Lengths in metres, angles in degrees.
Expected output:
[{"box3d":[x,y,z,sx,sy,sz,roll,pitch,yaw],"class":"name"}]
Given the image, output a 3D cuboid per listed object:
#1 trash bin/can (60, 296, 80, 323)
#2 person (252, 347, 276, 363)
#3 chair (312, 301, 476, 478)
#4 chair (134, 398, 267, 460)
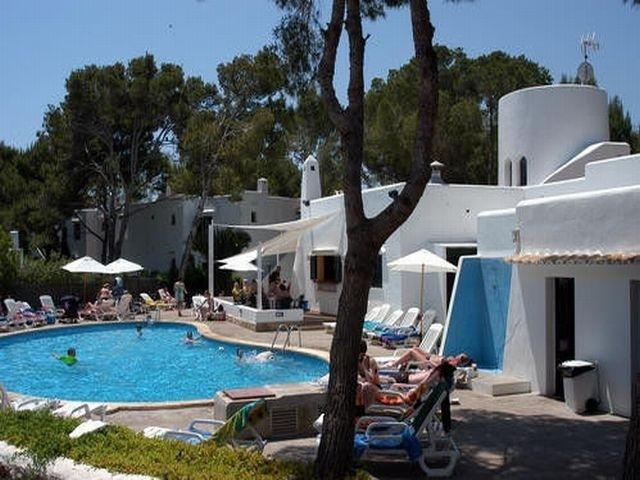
[{"box3d":[-9.690,2.678,26.662,0.486,1.003,0.919,5,-5,-38],"class":"trash bin/can"},{"box3d":[-1.676,3.435,20.334,0.629,0.416,0.483,3,-5,-7],"class":"person"},{"box3d":[1.655,3.462,13.245,2.296,2.234,1.755,2,-5,3],"class":"chair"},{"box3d":[-2.255,3.625,12.982,2.647,1.317,1.055,3,3,30],"class":"chair"}]
